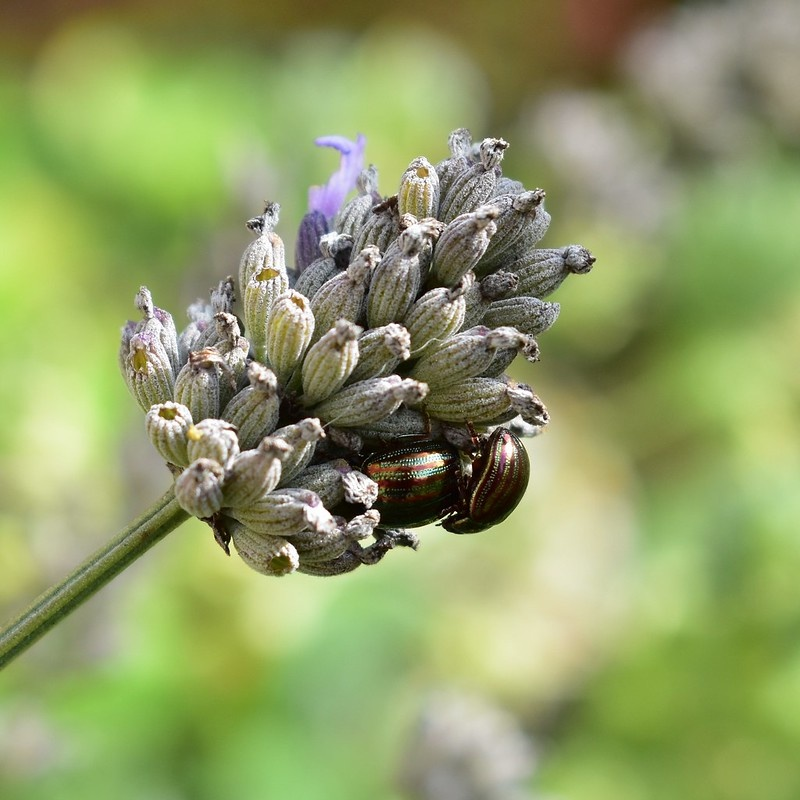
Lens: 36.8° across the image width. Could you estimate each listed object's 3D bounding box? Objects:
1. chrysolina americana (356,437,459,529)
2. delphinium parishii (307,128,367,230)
[{"bbox_3d":[0.022,0.176,2.592,0.225,0.199,0.110,11,-11,-38],"label":"chrysolina americana"},{"bbox_3d":[-0.149,-0.547,2.951,0.108,0.268,0.118,-15,29,-28],"label":"delphinium parishii"}]
